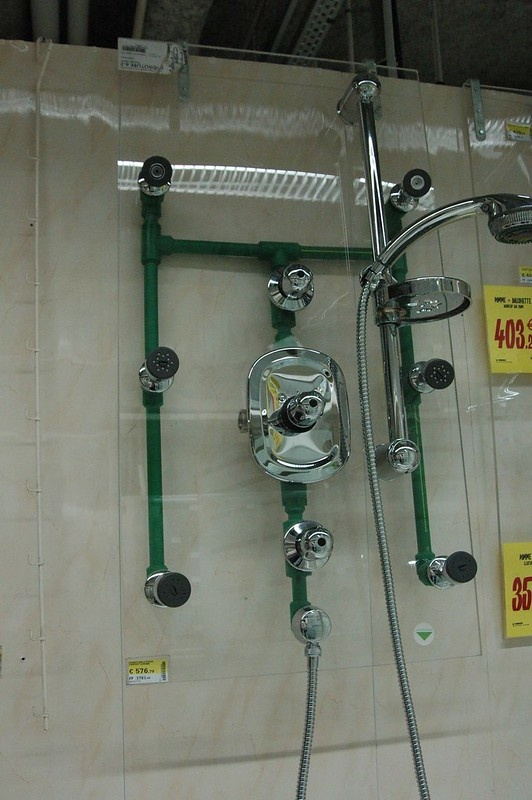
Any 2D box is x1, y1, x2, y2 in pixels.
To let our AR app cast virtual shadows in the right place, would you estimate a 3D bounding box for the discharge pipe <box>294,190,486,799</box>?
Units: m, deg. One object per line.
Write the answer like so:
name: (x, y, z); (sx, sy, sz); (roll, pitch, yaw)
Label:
discharge pipe: (0.244, 0.166, 1.449); (0.143, 0.924, 0.303); (-2, -5, -25)
